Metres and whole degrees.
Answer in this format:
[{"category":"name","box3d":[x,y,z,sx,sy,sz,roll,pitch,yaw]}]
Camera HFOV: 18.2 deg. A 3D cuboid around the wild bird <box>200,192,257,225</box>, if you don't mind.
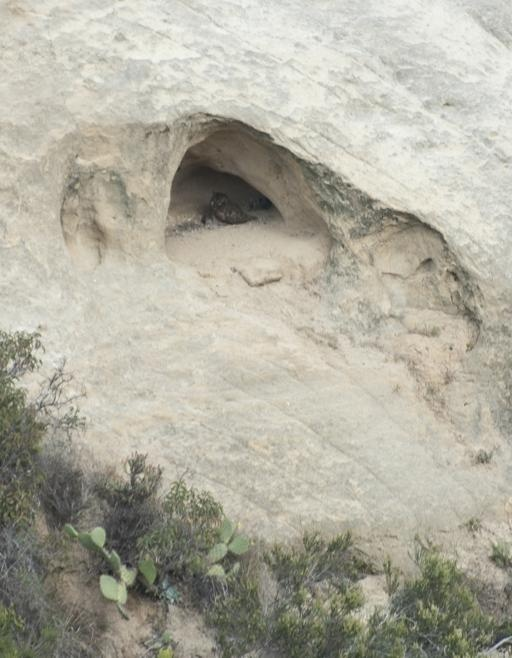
[{"category":"wild bird","box3d":[-0.310,-1.243,16.820,0.420,0.317,0.346,3,9,-18]}]
